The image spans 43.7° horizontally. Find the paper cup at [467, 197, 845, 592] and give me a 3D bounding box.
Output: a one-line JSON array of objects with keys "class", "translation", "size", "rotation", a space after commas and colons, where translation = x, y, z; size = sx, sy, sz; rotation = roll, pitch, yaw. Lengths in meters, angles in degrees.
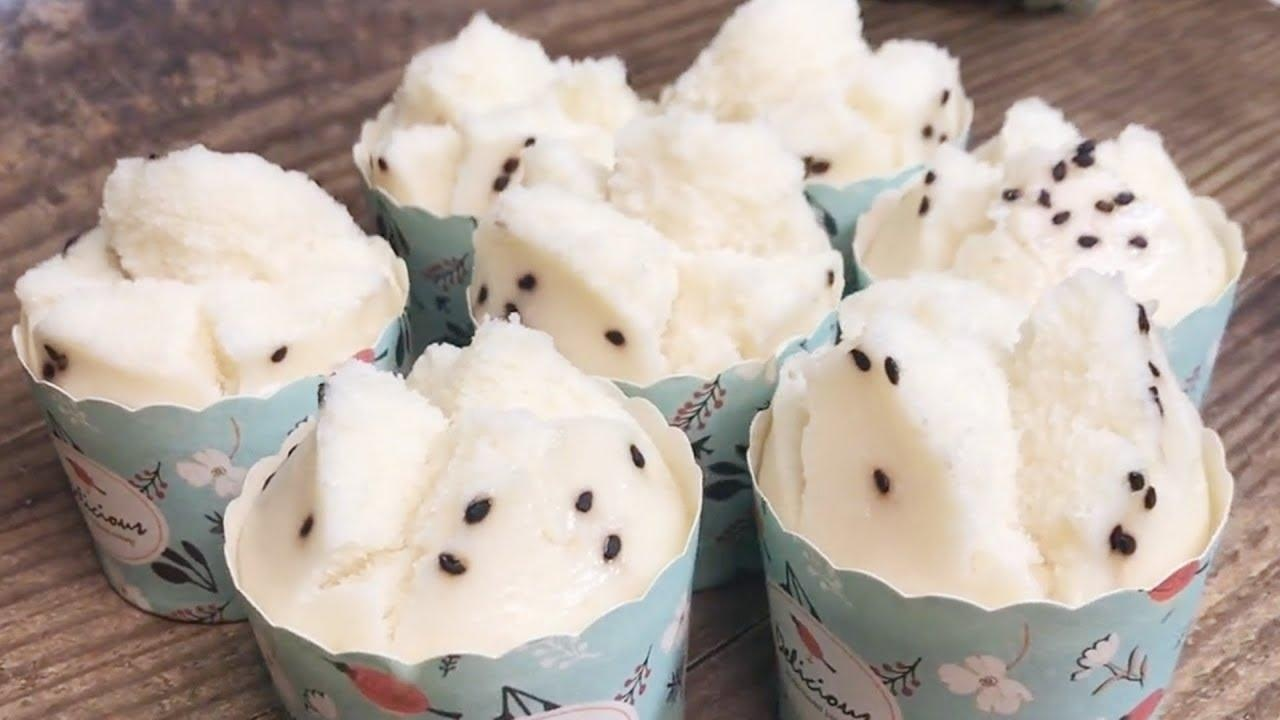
[{"class": "paper cup", "translation": [0.031, -0.015, 2.228], "size": [0.435, 0.425, 0.397], "rotation": [-3, 42, 2]}]

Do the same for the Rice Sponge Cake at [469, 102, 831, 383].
[{"class": "Rice Sponge Cake", "translation": [0.000, -0.126, 2.129], "size": [0.424, 0.141, 0.375], "rotation": [-12, 77, -10]}]

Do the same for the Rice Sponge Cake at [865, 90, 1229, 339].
[{"class": "Rice Sponge Cake", "translation": [0.580, -0.211, 2.201], "size": [0.358, 0.120, 0.355], "rotation": [-23, 49, -17]}]
